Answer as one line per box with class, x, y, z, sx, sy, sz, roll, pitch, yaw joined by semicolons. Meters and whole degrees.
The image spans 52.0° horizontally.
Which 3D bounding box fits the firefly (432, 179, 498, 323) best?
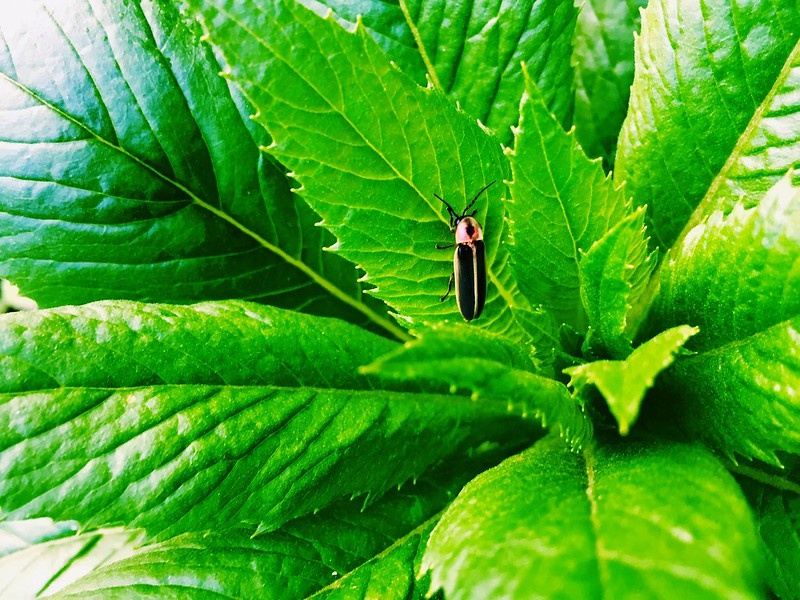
firefly;0.118;-0.081;1.539;0.128;0.241;0.060;-1;-1;-39
